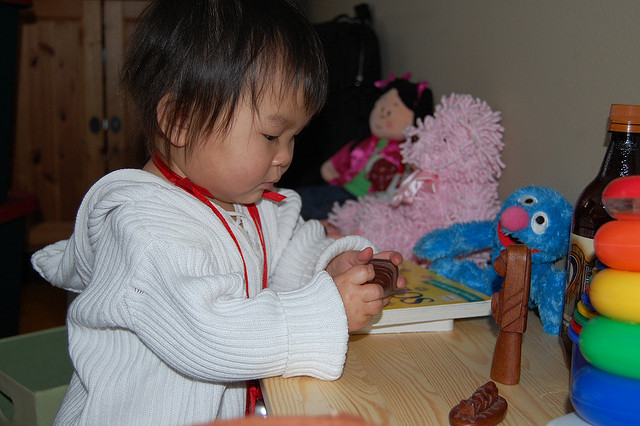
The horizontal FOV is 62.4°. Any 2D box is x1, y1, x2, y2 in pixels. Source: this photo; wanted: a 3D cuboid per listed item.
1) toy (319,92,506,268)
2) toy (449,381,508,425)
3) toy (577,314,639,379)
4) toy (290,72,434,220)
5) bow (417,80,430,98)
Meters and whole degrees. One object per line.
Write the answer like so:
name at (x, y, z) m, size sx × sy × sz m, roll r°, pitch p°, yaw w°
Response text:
toy at (0.270, -0.152, 1.615) m, size 0.465 × 0.648 × 0.465 m, roll 3°, pitch 24°, yaw -14°
toy at (0.263, 0.325, 0.871) m, size 0.101 × 0.051 × 0.059 m, roll -6°, pitch 16°, yaw -41°
toy at (0.422, 0.193, 0.765) m, size 0.075 × 0.031 × 0.077 m, roll 9°, pitch 6°, yaw 0°
toy at (0.160, -0.184, 1.658) m, size 0.431 × 0.510 × 0.352 m, roll -1°, pitch 25°, yaw -30°
bow at (0.307, -0.368, 1.565) m, size 0.026 × 0.071 × 0.020 m, roll 10°, pitch -10°, yaw 4°
